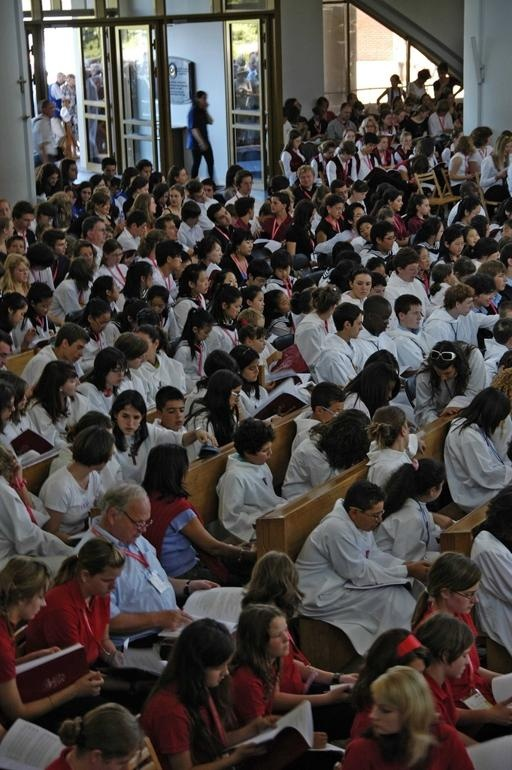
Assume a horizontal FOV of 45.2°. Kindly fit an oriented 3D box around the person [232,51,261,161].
[{"bbox_3d":[-0.135,-6.151,14.020,0.862,2.475,0.366,8,15,35],"label":"person"}]

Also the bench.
[{"bbox_3d":[-0.536,0.623,4.240,3.930,1.213,1.877,4,13,19],"label":"bench"}]

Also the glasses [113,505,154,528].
[{"bbox_3d":[-0.510,0.572,2.519,0.040,0.134,0.129,-39,-7,9],"label":"glasses"}]

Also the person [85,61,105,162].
[{"bbox_3d":[-3.912,-6.574,14.948,0.333,2.163,1.313,-8,14,-28],"label":"person"}]
